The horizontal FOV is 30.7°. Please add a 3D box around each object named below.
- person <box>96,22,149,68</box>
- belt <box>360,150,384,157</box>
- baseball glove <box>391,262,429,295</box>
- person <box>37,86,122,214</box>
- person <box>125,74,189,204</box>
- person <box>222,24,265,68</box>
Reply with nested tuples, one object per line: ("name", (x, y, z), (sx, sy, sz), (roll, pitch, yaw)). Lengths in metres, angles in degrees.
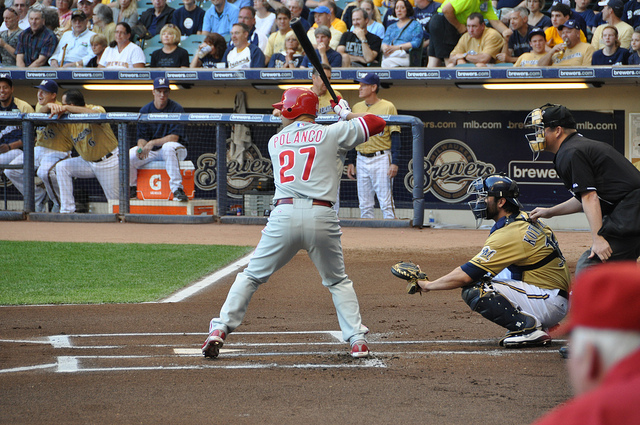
("person", (-3.783, -3.182, 22.061), (0.981, 0.781, 0.534), (5, 23, 6))
("belt", (0.899, -1.003, 19.856), (0.402, 0.103, 0.077), (1, 9, 7))
("baseball glove", (1.081, 0.829, 14.649), (0.552, 0.250, 0.341), (33, 8, 11))
("person", (-4.187, -1.069, 20.708), (1.380, 2.171, 0.646), (-1, 10, -3))
("person", (-2.878, -1.265, 20.566), (1.112, 2.199, 0.599), (-1, 10, 0))
("person", (-1.413, -3.026, 21.494), (1.018, 0.954, 0.555), (8, 10, 41))
